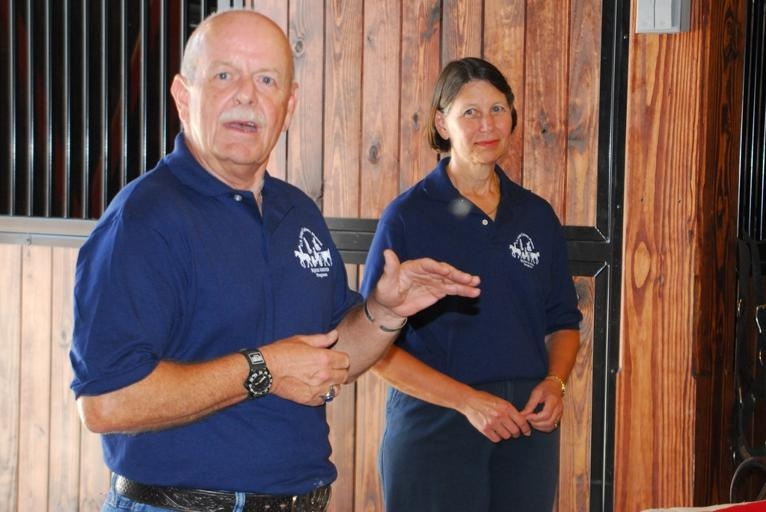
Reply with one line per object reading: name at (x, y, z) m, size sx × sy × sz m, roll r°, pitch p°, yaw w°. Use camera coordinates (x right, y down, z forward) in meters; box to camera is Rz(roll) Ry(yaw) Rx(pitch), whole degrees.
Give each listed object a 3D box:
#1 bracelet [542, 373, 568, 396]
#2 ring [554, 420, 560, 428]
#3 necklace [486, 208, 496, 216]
bracelet at (0.821, 0.611, 5.673) m, size 0.025 × 0.111 × 0.094 m, roll -22°, pitch -32°, yaw 24°
ring at (0.831, 0.783, 5.670) m, size 0.030 × 0.020 × 0.044 m, roll 14°, pitch 1°, yaw 7°
necklace at (0.522, -0.204, 5.727) m, size 0.035 × 0.010 × 0.039 m, roll 10°, pitch 31°, yaw 24°
